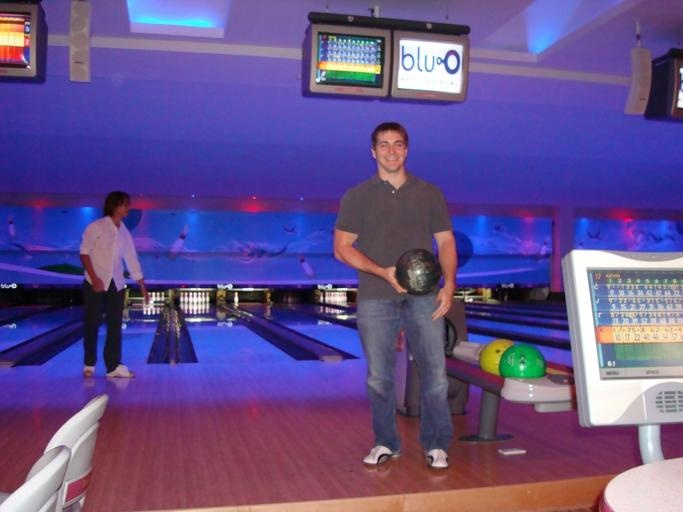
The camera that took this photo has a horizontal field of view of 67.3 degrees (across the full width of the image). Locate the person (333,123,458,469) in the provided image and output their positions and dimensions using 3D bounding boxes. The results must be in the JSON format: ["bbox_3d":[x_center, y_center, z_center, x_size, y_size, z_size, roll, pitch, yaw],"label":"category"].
[{"bbox_3d":[0.214,0.155,2.141,0.509,1.439,0.446,1,7,12],"label":"person"}]

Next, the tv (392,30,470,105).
[{"bbox_3d":[0.578,-1.250,3.643,0.662,0.597,0.374,1,3,-4],"label":"tv"}]

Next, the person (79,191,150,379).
[{"bbox_3d":[-1.651,0.232,3.695,0.478,1.375,0.509,-4,8,-26],"label":"person"}]

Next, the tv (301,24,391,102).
[{"bbox_3d":[0.061,-1.386,3.523,0.588,0.437,0.353,0,38,-5],"label":"tv"}]

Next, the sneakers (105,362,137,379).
[{"bbox_3d":[-1.601,0.837,3.711,0.159,0.074,0.090,-1,0,-5],"label":"sneakers"}]

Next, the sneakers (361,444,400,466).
[{"bbox_3d":[0.161,0.816,2.104,0.059,0.068,0.163,-15,-19,42],"label":"sneakers"}]
